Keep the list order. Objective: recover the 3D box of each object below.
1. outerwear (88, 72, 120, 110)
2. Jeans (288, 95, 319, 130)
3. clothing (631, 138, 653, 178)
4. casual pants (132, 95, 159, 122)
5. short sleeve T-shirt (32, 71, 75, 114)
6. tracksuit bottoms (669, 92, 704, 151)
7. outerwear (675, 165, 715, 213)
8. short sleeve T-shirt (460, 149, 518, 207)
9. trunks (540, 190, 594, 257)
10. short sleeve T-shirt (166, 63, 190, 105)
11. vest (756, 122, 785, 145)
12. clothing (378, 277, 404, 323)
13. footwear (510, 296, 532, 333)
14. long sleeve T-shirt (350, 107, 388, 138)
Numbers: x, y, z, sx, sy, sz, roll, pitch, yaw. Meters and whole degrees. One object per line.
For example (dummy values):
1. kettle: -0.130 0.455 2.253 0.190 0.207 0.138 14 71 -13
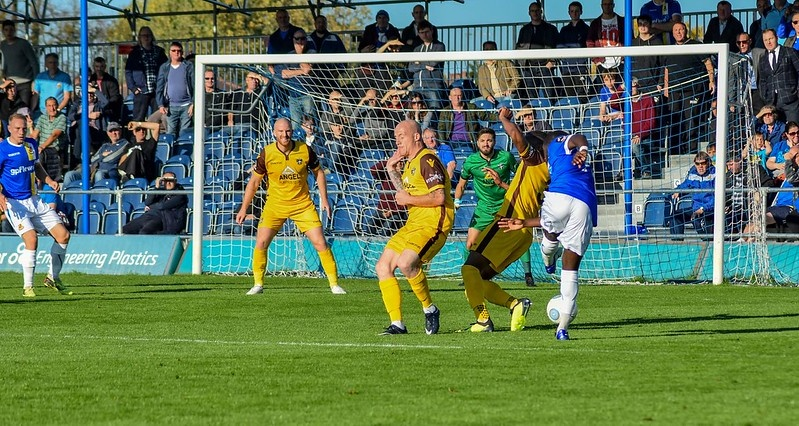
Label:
1. outerwear: -8.512 -3.590 33.980 0.767 1.041 0.527 1 -1 -16
2. Jeans: -2.512 -2.640 30.115 0.871 0.752 0.266 2 21 15
3. clothing: 5.897 -1.401 28.238 0.641 0.724 0.783 -11 -38 15
4. casual pants: -7.097 -2.980 32.710 0.889 0.942 0.374 2 0 -35
5. short sleeve T-shirt: -9.981 -3.474 33.532 1.623 1.472 0.919 1 0 6
6. tracksuit bottoms: 7.122 -2.269 28.683 1.107 1.412 0.238 -2 -7 35
7. outerwear: 7.000 -0.616 27.317 0.937 1.090 0.456 2 -10 36
8. short sleeve T-shirt: 1.964 -0.743 24.833 1.624 1.345 0.565 -2 20 5
9. trunks: 3.047 0.153 21.031 1.001 0.863 0.619 21 34 31
10. short sleeve T-shirt: -6.072 -3.592 32.100 0.664 1.131 0.330 1 -1 -10
11. vest: 9.083 -1.937 28.290 0.700 0.428 0.187 1 -10 29
12. clothing: -0.137 1.600 21.693 0.391 0.823 0.332 1 -1 -1
13. footwear: 2.268 1.853 21.745 0.383 0.703 0.263 21 27 12
14. long sleeve T-shirt: -0.671 -2.318 29.437 1.095 0.714 0.071 19 17 16
